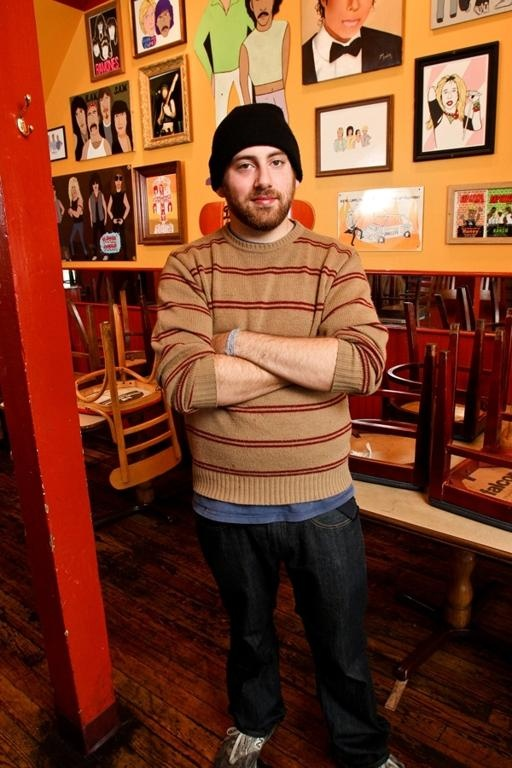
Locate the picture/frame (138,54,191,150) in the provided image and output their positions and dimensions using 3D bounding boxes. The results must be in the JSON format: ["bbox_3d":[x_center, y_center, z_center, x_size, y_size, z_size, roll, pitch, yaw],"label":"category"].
[{"bbox_3d":[-0.570,-1.824,3.218,0.539,0.669,0.061,9,15,41],"label":"picture/frame"}]

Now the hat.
[{"bbox_3d":[-0.002,-0.455,1.037,0.152,0.149,0.161,-4,6,-8],"label":"hat"}]

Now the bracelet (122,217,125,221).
[{"bbox_3d":[-0.970,-1.216,3.690,0.020,0.024,0.005,0,10,-32],"label":"bracelet"}]

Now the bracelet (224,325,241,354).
[{"bbox_3d":[-0.045,-0.086,0.967,0.030,0.045,0.015,-2,-12,36],"label":"bracelet"}]
